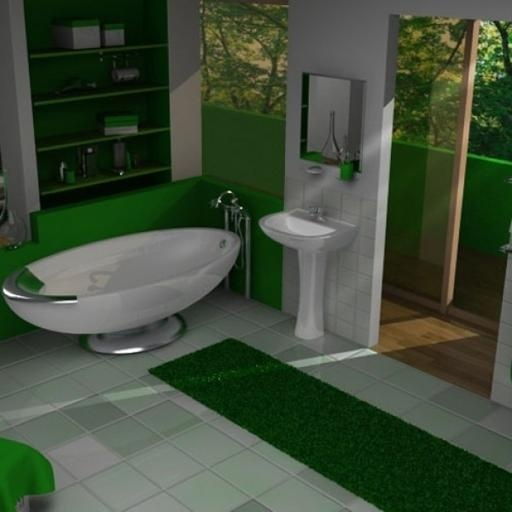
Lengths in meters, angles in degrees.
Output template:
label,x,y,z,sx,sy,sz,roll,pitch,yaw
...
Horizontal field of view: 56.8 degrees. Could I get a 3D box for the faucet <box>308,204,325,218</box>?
label,x,y,z,sx,sy,sz,roll,pitch,yaw
faucet,0.485,-0.356,3.805,0.116,0.094,0.081,-5,18,-15

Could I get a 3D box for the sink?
label,x,y,z,sx,sy,sz,roll,pitch,yaw
sink,0.359,-0.156,3.741,0.572,0.295,0.681,-13,22,-40

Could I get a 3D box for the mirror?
label,x,y,z,sx,sy,sz,roll,pitch,yaw
mirror,0.572,-0.992,3.643,0.696,0.717,0.083,-4,11,-37

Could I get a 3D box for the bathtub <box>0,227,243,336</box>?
label,x,y,z,sx,sy,sz,roll,pitch,yaw
bathtub,-1.020,0.198,3.879,1.875,0.588,1.031,-12,21,-38
